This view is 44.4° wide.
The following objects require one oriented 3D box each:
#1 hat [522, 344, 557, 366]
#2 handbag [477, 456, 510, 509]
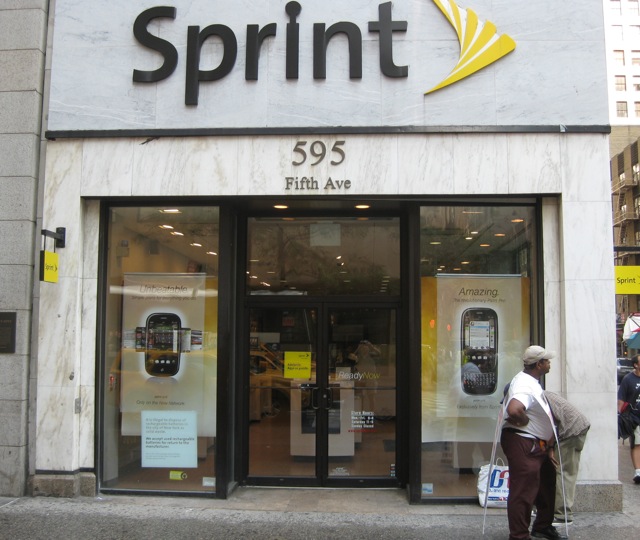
[{"bbox_3d":[2.578,0.963,9.198,0.294,0.160,0.213,-10,5,-7],"label":"hat"},{"bbox_3d":[2.347,2.776,10.324,0.510,0.734,0.256,5,6,-17],"label":"handbag"}]
